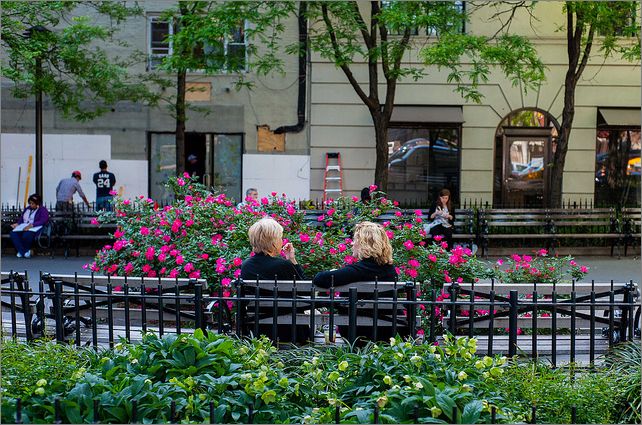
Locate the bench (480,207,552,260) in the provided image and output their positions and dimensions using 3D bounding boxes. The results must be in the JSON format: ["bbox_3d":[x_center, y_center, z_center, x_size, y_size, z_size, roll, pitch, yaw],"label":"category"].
[{"bbox_3d":[5.497,0.598,42.238,2.045,1.372,1.292,1,-3,4],"label":"bench"}]

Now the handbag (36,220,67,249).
[{"bbox_3d":[-7.472,0.634,41.679,0.911,0.768,0.524,3,-3,-24],"label":"handbag"}]

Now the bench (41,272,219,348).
[{"bbox_3d":[-4.523,2.300,34.277,3.811,1.621,2.216,1,-3,-5],"label":"bench"}]

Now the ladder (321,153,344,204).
[{"bbox_3d":[0.374,-1.066,44.532,0.589,1.468,0.494,2,-3,0],"label":"ladder"}]

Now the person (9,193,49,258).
[{"bbox_3d":[-8.165,0.399,41.668,1.017,1.808,0.493,2,-3,-11],"label":"person"}]

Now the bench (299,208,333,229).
[{"bbox_3d":[-0.140,0.163,41.007,0.876,0.475,0.512,0,-1,-2],"label":"bench"}]

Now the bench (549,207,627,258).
[{"bbox_3d":[7.484,0.340,42.413,3.094,1.629,1.220,0,6,2],"label":"bench"}]

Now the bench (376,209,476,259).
[{"bbox_3d":[3.520,-0.037,41.676,3.581,1.297,1.215,1,0,0],"label":"bench"}]
